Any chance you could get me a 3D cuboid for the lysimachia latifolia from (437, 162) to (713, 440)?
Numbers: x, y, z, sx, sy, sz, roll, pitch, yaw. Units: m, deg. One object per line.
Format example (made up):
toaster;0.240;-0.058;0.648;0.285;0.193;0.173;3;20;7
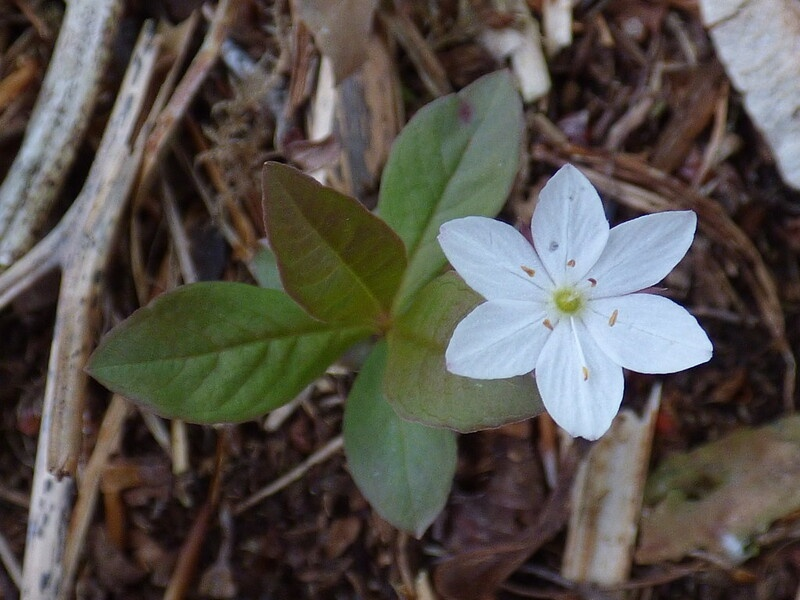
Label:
lysimachia latifolia;0.236;0.002;1.662;0.357;0.112;0.365;-8;79;6
